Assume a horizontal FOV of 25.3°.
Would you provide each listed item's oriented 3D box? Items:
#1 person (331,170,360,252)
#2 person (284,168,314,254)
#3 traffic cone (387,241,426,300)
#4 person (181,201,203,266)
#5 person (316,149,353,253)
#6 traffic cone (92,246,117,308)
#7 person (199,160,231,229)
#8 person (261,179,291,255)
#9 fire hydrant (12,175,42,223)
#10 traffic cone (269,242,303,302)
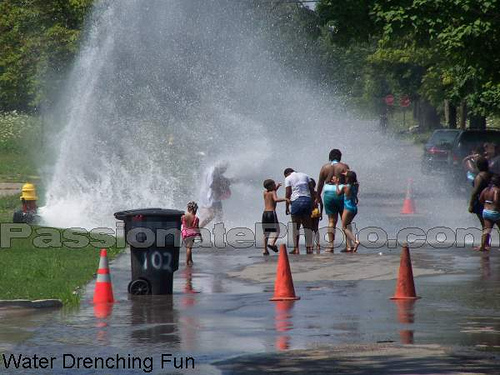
[{"bbox_3d":[1.910,0.479,22.101,0.567,1.642,0.484,-1,-5,-3],"label":"person"},{"bbox_3d":[1.002,0.430,22.225,0.626,1.799,0.579,-4,-11,8],"label":"person"},{"bbox_3d":[2.377,1.328,17.030,0.425,0.770,0.449,0,-1,14],"label":"traffic cone"},{"bbox_3d":[-1.094,0.852,20.703,0.429,1.093,0.412,0,4,-9],"label":"person"},{"bbox_3d":[1.739,0.230,22.554,0.719,2.068,0.625,-3,-3,-1],"label":"person"},{"bbox_3d":[-2.269,1.340,17.185,0.318,0.786,1.131,-3,7,-8],"label":"traffic cone"},{"bbox_3d":[-0.808,0.156,26.265,0.540,1.486,0.632,-1,11,-30],"label":"person"},{"bbox_3d":[0.556,0.583,22.005,0.594,1.516,0.521,-5,-11,34],"label":"person"},{"bbox_3d":[-5.644,0.412,28.253,0.669,1.314,0.559,6,11,25],"label":"fire hydrant"},{"bbox_3d":[0.555,1.323,17.064,0.462,0.798,0.468,0,-1,8],"label":"traffic cone"}]
